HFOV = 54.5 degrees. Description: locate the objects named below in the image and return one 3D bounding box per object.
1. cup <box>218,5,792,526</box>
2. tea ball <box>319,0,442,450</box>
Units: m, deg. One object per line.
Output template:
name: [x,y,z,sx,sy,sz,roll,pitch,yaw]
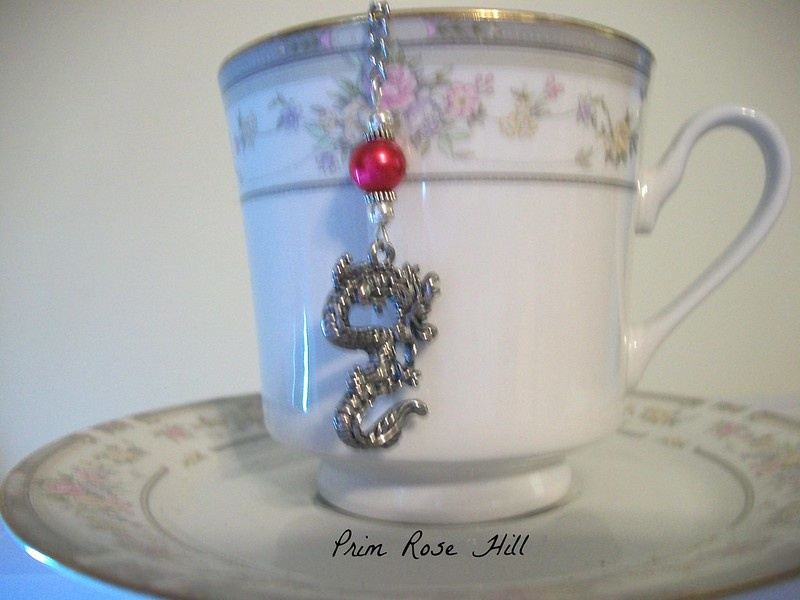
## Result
cup: [0.081,-0.030,0.730,0.400,0.377,0.352,0,3,2]
tea ball: [-0.017,-0.057,0.627,0.093,0.357,0.033,0,6,18]
